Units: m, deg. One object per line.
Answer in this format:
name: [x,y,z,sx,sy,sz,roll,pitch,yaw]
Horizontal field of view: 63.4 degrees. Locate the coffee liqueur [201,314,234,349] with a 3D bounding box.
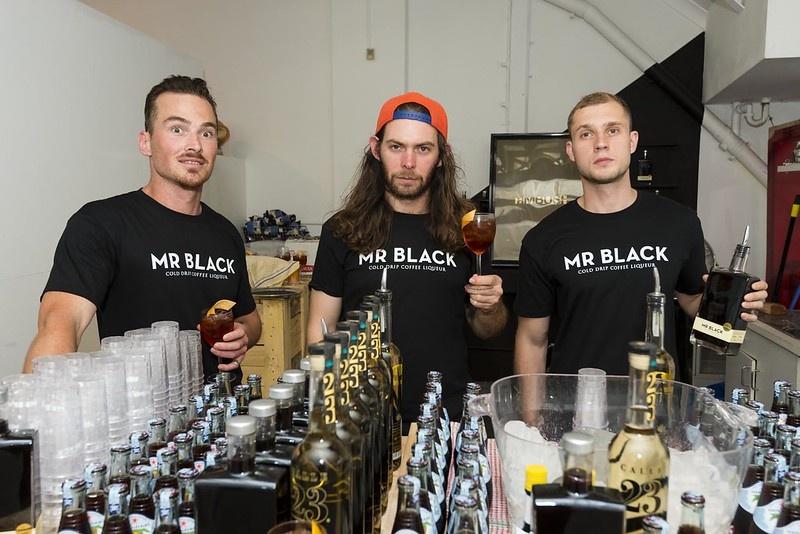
coffee liqueur: [-0.721,0.257,2.561,0.113,0.131,0.119,0,-2,-1]

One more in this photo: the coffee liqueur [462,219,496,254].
coffee liqueur: [0.330,-0.135,2.867,0.139,0.222,0.138,1,2,-25]

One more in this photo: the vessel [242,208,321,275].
vessel: [-1.108,-0.232,5.710,0.449,0.310,0.658,5,10,-5]

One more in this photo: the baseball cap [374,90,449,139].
baseball cap: [0.028,-0.730,3.242,0.310,0.234,0.518,8,15,9]

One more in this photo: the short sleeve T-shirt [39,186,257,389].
short sleeve T-shirt: [-1.082,0.092,2.753,0.958,0.797,0.333,2,-3,-34]

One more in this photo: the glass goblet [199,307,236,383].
glass goblet: [-0.749,0.301,2.630,0.127,0.304,0.117,0,23,-17]
